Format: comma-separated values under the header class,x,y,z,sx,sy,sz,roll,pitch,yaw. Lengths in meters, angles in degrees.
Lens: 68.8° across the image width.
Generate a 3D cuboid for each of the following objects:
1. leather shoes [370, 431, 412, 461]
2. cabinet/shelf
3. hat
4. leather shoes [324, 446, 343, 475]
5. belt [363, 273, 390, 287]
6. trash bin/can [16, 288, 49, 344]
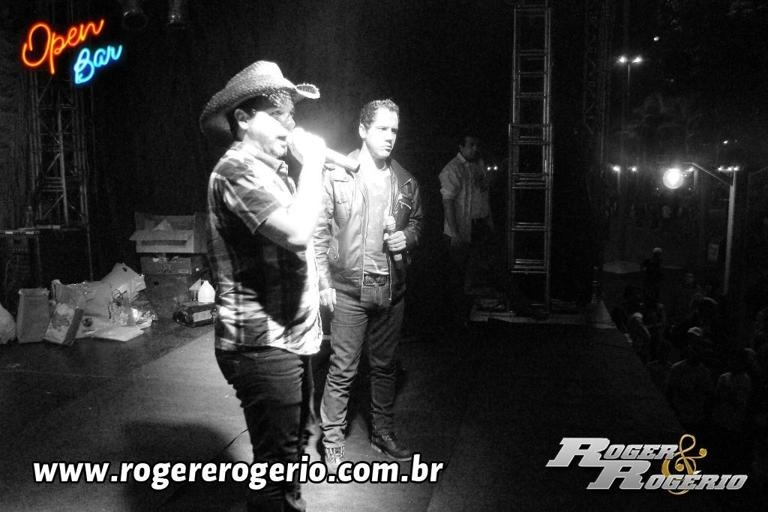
class,x,y,z,sx,sy,sz,roll,pitch,yaw
leather shoes,0.051,1.311,3.950,0.312,0.150,0.125,8,6,32
cabinet/shelf,-2.600,0.391,7.049,0.695,1.013,0.779,-4,-8,0
hat,-0.703,-0.766,3.038,0.535,0.229,0.492,-26,-9,13
leather shoes,-0.329,1.353,3.720,0.164,0.215,0.124,0,-10,-3
belt,-0.063,0.153,3.759,0.156,0.066,0.025,2,1,-21
trash bin/can,-3.582,0.607,5.759,0.297,0.550,0.179,2,1,-26
